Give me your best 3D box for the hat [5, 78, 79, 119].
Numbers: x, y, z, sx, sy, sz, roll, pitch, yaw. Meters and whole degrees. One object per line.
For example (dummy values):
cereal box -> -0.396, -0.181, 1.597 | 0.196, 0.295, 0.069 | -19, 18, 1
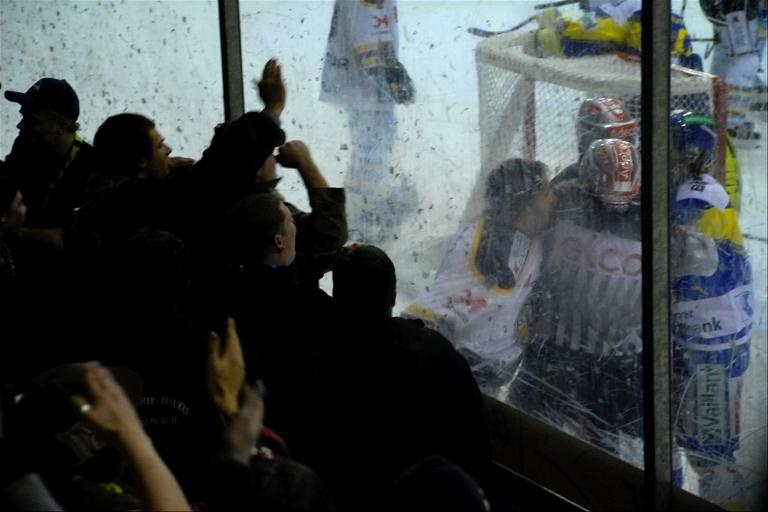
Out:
hat -> -1.073, -0.500, 2.422 | 0.190, 0.110, 0.121 | 23, 9, -26

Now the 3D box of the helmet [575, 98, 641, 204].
helmet -> 0.697, -0.338, 2.354 | 0.168, 0.239, 0.229 | -19, 49, -1
